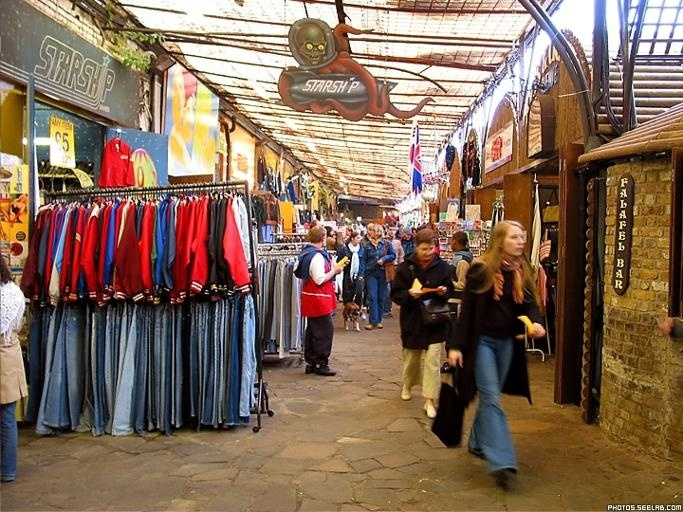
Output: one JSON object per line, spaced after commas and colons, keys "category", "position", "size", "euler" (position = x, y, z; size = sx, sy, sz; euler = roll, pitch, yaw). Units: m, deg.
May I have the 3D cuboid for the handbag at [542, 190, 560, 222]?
{"category": "handbag", "position": [3.863, -0.941, 9.803], "size": [0.306, 0.659, 0.885], "euler": [1, 3, 20]}

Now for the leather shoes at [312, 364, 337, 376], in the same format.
{"category": "leather shoes", "position": [-0.253, 1.644, 7.600], "size": [0.371, 0.172, 0.130], "euler": [0, -2, 6]}

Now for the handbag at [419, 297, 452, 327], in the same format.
{"category": "handbag", "position": [1.013, 0.574, 5.821], "size": [0.414, 0.381, 0.229], "euler": [0, -7, -27]}

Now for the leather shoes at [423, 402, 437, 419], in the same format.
{"category": "leather shoes", "position": [0.983, 1.735, 5.925], "size": [0.121, 0.180, 0.409], "euler": [-1, -8, -3]}

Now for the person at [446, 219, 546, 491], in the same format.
{"category": "person", "position": [1.292, 0.782, 4.381], "size": [0.784, 2.127, 0.519], "euler": [0, 2, -1]}

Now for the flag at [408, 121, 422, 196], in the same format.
{"category": "flag", "position": [2.044, -2.690, 14.506], "size": [0.304, 2.013, 0.884], "euler": [0, 2, 8]}

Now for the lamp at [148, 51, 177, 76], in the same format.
{"category": "lamp", "position": [-3.797, -4.037, 11.148], "size": [0.219, 0.473, 0.838], "euler": [1, 3, 14]}

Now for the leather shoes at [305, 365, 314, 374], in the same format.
{"category": "leather shoes", "position": [-0.469, 1.662, 7.716], "size": [0.119, 0.118, 0.122], "euler": [-1, -14, 13]}
